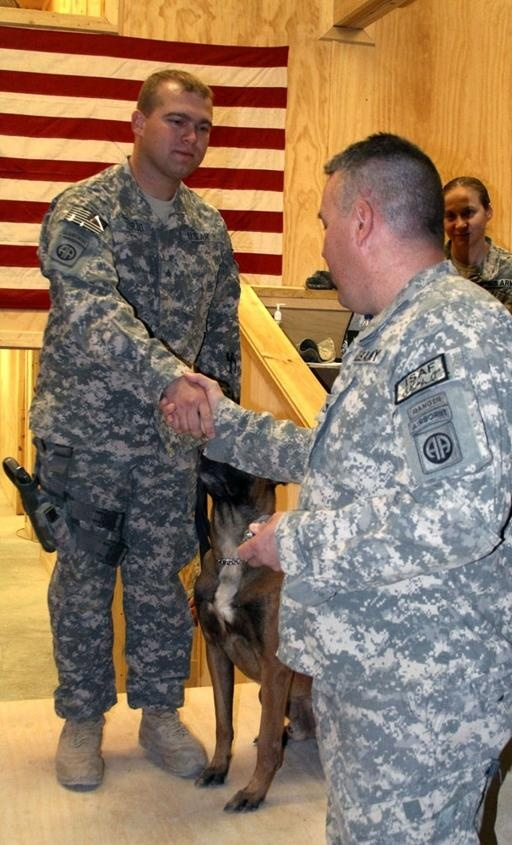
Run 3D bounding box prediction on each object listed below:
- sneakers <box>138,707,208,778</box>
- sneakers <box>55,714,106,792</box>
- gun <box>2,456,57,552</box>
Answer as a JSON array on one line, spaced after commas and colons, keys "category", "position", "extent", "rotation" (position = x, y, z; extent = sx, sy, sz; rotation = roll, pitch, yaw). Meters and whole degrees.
[{"category": "sneakers", "position": [-0.228, 0.911, 2.207], "extent": [0.093, 0.173, 0.265], "rotation": [-13, 7, -36]}, {"category": "sneakers", "position": [-0.481, 0.899, 2.073], "extent": [0.131, 0.120, 0.224], "rotation": [2, 2, -11]}, {"category": "gun", "position": [-0.647, 0.246, 2.153], "extent": [0.146, 0.290, 0.274], "rotation": [2, 2, -16]}]
